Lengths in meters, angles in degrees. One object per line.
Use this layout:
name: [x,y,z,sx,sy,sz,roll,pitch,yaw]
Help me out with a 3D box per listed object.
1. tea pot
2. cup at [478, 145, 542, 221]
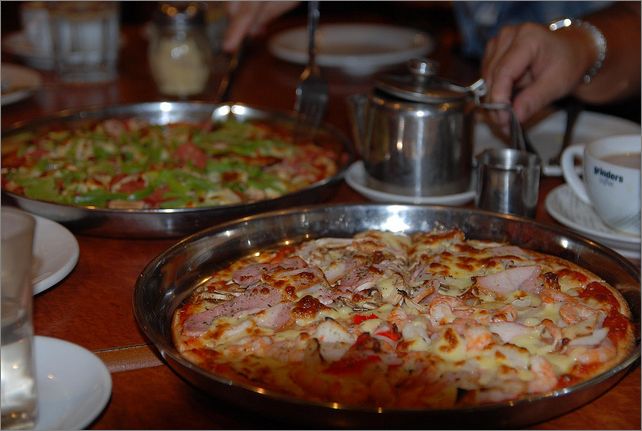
tea pot: [0.361,-0.296,1.662,0.491,0.341,0.328,3,27,9]
cup: [0.480,-0.084,1.466,0.203,0.184,0.188,-2,27,1]
